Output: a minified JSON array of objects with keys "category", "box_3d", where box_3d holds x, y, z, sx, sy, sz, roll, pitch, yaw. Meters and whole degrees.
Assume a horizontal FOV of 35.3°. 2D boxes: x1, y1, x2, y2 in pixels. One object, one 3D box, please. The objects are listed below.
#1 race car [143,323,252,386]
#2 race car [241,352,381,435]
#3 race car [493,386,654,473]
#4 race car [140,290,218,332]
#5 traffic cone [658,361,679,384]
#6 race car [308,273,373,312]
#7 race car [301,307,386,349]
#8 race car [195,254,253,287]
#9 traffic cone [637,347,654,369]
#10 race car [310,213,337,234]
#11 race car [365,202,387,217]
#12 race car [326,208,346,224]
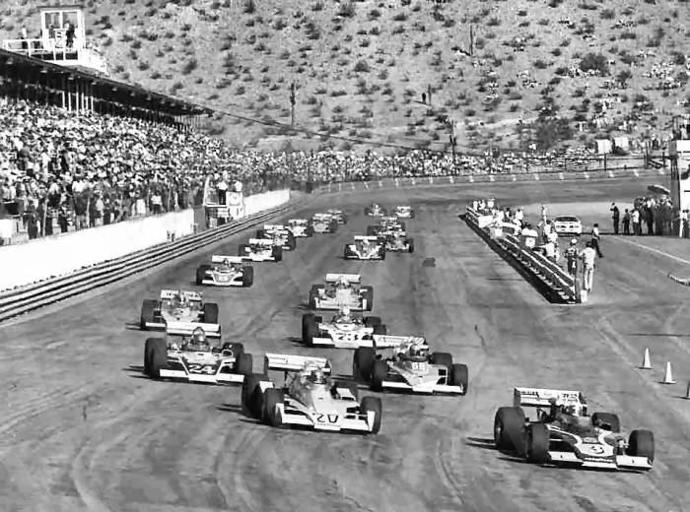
[{"category":"race car","box_3d":[-4.187,2.852,31.075,3.045,1.484,4.614,6,-2,-5]},{"category":"race car","box_3d":[-0.923,3.520,27.777,3.020,1.704,4.907,6,-2,-11]},{"category":"race car","box_3d":[5.277,4.108,25.553,3.501,1.586,1.942,0,10,10]},{"category":"race car","box_3d":[-5.346,1.803,35.530,2.315,1.322,3.858,2,2,-8]},{"category":"traffic cone","box_3d":[9.390,3.378,32.022,0.581,0.695,0.598,3,7,38]},{"category":"race car","box_3d":[-0.117,1.320,40.052,2.387,1.097,3.444,2,10,4]},{"category":"race car","box_3d":[-0.116,2.362,34.077,1.359,0.688,1.974,2,2,-9]},{"category":"race car","box_3d":[-4.840,0.678,44.350,1.827,1.448,1.502,-1,3,-3]},{"category":"traffic cone","box_3d":[9.263,3.169,33.458,0.548,0.660,0.574,2,7,21]},{"category":"race car","box_3d":[-1.303,-1.935,64.320,0.975,0.434,1.776,2,17,1]},{"category":"race car","box_3d":[2.105,-3.167,75.918,1.226,0.809,1.666,4,11,32]},{"category":"race car","box_3d":[-0.435,-2.664,70.163,0.952,0.941,0.242,1,-21,-31]}]
